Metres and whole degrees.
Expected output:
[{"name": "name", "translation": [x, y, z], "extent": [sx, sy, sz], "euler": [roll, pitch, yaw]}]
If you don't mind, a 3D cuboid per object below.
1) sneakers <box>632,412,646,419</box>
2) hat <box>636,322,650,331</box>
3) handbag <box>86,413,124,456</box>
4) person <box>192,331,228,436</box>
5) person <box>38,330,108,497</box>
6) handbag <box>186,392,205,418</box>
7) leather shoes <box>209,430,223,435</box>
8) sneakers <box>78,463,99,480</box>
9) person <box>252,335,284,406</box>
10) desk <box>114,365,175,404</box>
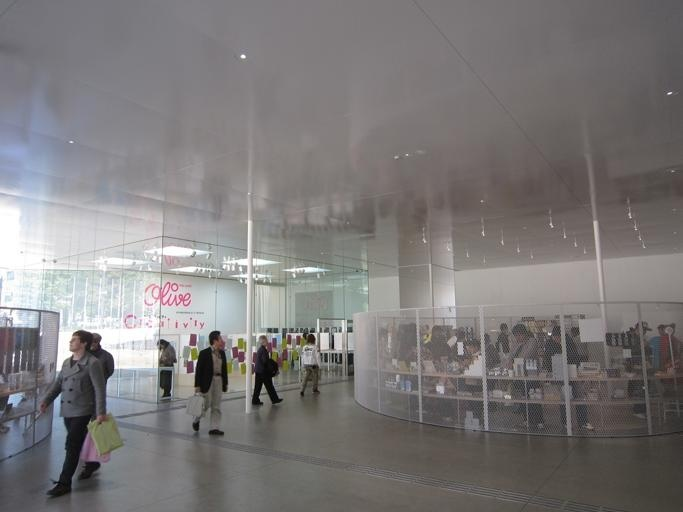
[{"name": "sneakers", "translation": [5.344, 2.891, 7.849], "extent": [0.291, 0.096, 0.088], "euler": [5, -35, -4]}, {"name": "hat", "translation": [5.702, 1.342, 8.281], "extent": [0.250, 0.203, 0.213], "euler": [2, -2, -18]}, {"name": "handbag", "translation": [-3.114, 2.376, 5.732], "extent": [0.382, 0.533, 0.306], "euler": [3, -8, -32]}, {"name": "person", "translation": [-2.469, 2.426, 8.311], "extent": [0.601, 1.930, 0.369], "euler": [3, -7, -26]}, {"name": "person", "translation": [-3.606, 2.056, 5.868], "extent": [0.740, 2.063, 0.907], "euler": [4, -8, -35]}, {"name": "handbag", "translation": [-2.695, 2.806, 8.128], "extent": [0.307, 0.485, 0.338], "euler": [-2, -7, 10]}, {"name": "leather shoes", "translation": [-2.352, 3.346, 8.258], "extent": [0.265, 0.117, 0.106], "euler": [0, -14, 4]}, {"name": "sneakers", "translation": [-3.584, 3.048, 6.151], "extent": [0.135, 0.171, 0.371], "euler": [-13, -9, -3]}, {"name": "person", "translation": [-1.978, 2.999, 11.471], "extent": [0.742, 1.779, 0.587], "euler": [0, -7, -4]}, {"name": "desk", "translation": [-5.571, 3.638, 12.295], "extent": [1.813, 0.857, 0.615], "euler": [-8, -15, 29]}]
